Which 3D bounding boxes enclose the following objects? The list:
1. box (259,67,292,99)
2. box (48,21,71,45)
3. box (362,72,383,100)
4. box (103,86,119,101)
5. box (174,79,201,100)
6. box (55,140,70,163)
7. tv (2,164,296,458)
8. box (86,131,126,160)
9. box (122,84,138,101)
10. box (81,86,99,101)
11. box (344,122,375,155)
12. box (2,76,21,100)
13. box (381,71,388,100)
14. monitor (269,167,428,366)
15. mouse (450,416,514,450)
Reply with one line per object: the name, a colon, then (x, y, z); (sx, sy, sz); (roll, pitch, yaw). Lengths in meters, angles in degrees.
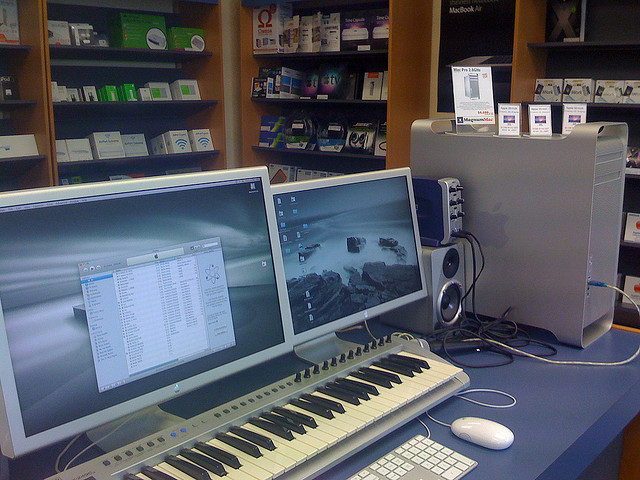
box: (-0.401, -1.485, 4.359); (0.374, 0.320, 0.130); (9, -10, 31)
box: (-2.080, -1.654, 3.619); (0.170, 0.196, 0.127); (-14, 16, -37)
box: (0.442, -1.326, 3.895); (0.087, 0.231, 0.204); (-14, 16, -37)
box: (-1.779, -1.240, 3.846); (0.073, 0.138, 0.141); (5, 16, 28)
box: (-1.266, -1.421, 4.291); (0.115, 0.203, 0.212); (-19, -2, 42)
box: (-2.091, -0.720, 3.672); (0.086, 0.172, 0.146); (-11, 15, -26)
tv: (-0.353, 0.163, 0.945); (0.593, 0.392, 0.051); (-13, 7, -42)
box: (-1.813, -0.813, 3.984); (0.274, 0.254, 0.276); (-15, 8, 8)
box: (-1.652, -1.282, 3.941); (0.110, 0.132, 0.091); (-11, 14, -26)
box: (-1.947, -1.239, 3.826); (0.112, 0.138, 0.207); (-9, 14, -22)
box: (0.357, -0.885, 3.965); (0.179, 0.262, 0.298); (-13, 16, -33)
box: (-2.347, -1.148, 3.433); (0.049, 0.164, 0.119); (6, 16, 37)
box: (0.529, -1.296, 3.802); (0.051, 0.227, 0.098); (-2, 13, 8)
monitor: (0.084, 0.089, 1.335); (0.521, 0.477, 0.149); (-13, 17, -40)
mouse: (0.371, 0.442, 1.070); (0.105, 0.054, 0.167); (-5, -3, -34)
